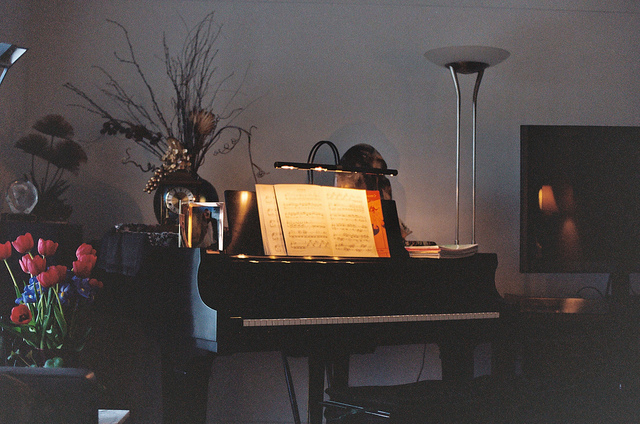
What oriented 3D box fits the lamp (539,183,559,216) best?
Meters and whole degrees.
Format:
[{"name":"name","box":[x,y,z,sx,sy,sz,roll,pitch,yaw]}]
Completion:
[{"name":"lamp","box":[1.813,-0.097,6.100,0.147,0.255,0.039,-1,-9,13]}]

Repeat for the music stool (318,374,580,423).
[{"name":"music stool","box":[0.911,1.225,5.018,1.736,0.329,0.660,5,-10,-25]}]

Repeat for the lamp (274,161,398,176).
[{"name":"lamp","box":[0.108,-0.285,5.097,0.707,0.096,0.331,-3,6,-5]}]

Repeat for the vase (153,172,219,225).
[{"name":"vase","box":[-0.923,-0.116,5.441,0.385,0.367,0.245,1,6,-11]}]

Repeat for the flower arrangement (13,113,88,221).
[{"name":"flower arrangement","box":[-2.032,-0.336,5.838,0.521,0.843,0.266,5,-10,-21]}]

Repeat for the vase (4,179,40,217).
[{"name":"vase","box":[-2.095,-0.085,5.441,0.266,0.308,0.264,0,-4,-11]}]

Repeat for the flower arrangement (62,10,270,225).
[{"name":"flower arrangement","box":[-1.037,-0.746,5.691,1.350,1.713,0.715,2,-9,-5]}]

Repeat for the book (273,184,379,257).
[{"name":"book","box":[0.017,0.072,4.927,0.471,0.333,0.051,-1,-20,-16]}]

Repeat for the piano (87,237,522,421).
[{"name":"piano","box":[-0.055,0.787,5.153,2.584,1.124,0.831,3,-9,-13]}]

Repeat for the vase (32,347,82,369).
[{"name":"vase","box":[-1.710,0.932,5.035,0.290,0.203,0.236,5,-7,-29]}]

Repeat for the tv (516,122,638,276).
[{"name":"tv","box":[2.064,-0.085,6.103,1.177,1.113,0.084,0,-2,-2]}]
